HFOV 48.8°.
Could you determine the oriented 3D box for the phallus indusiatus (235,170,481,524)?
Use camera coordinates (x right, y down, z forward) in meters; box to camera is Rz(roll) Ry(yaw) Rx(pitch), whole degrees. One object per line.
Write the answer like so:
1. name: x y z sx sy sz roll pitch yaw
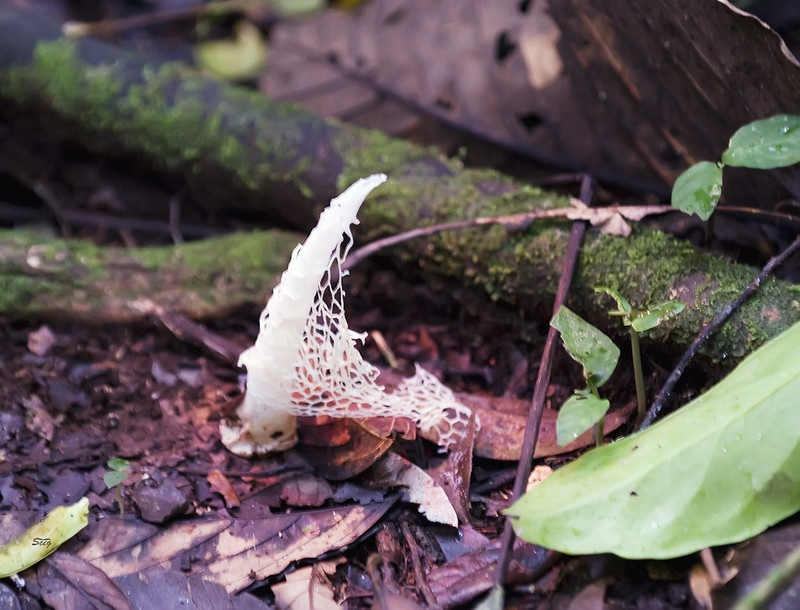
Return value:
1. phallus indusiatus: -0.114 0.088 2.426 0.727 0.736 0.449 13 45 4
